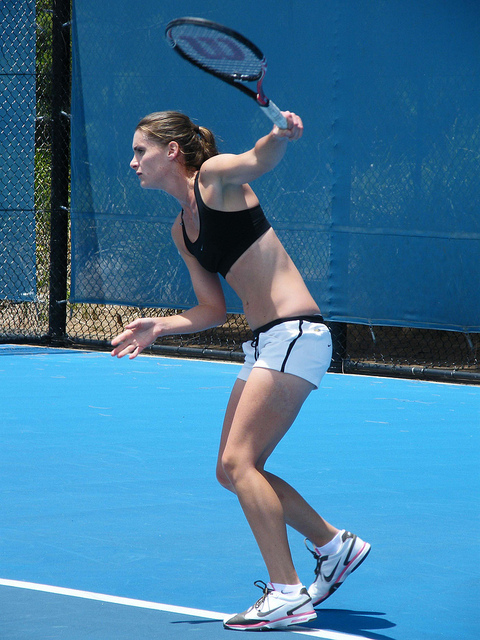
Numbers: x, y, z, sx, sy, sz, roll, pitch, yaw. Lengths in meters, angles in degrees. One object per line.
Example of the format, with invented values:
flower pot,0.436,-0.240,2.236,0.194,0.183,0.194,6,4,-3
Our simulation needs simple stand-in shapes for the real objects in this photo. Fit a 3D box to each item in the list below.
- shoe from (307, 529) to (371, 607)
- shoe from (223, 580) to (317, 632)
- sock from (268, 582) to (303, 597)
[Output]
shoe,0.227,0.669,2.204,0.116,0.262,0.084,43,10,-2
shoe,0.081,0.710,2.039,0.259,0.145,0.099,-3,-12,1
sock,0.108,0.648,1.963,0.074,0.033,0.026,4,-2,0
